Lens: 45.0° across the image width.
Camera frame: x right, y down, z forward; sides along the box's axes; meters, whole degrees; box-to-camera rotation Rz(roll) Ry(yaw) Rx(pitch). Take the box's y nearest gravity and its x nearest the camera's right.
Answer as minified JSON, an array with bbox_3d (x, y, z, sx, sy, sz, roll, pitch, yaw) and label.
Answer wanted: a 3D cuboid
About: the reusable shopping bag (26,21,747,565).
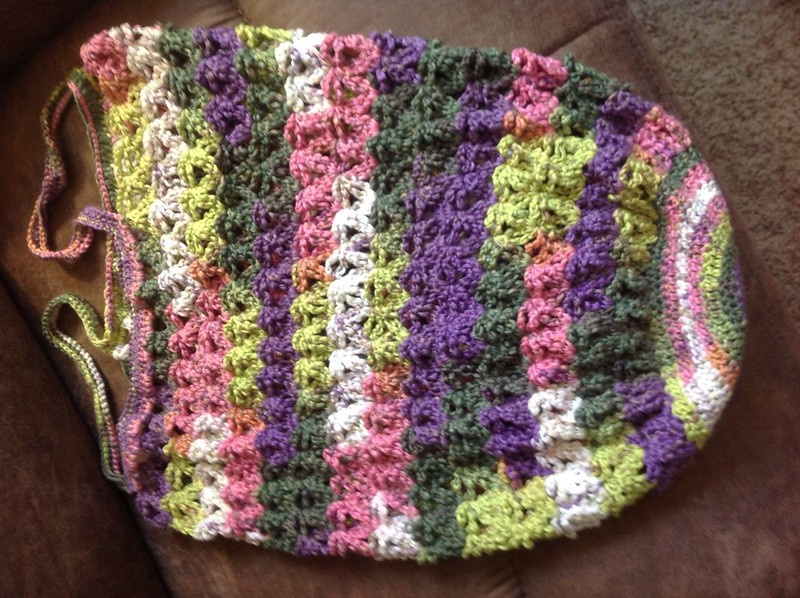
[{"bbox_3d":[-0.060,0.014,1.559,1.155,0.251,0.903,17,84,5],"label":"reusable shopping bag"}]
